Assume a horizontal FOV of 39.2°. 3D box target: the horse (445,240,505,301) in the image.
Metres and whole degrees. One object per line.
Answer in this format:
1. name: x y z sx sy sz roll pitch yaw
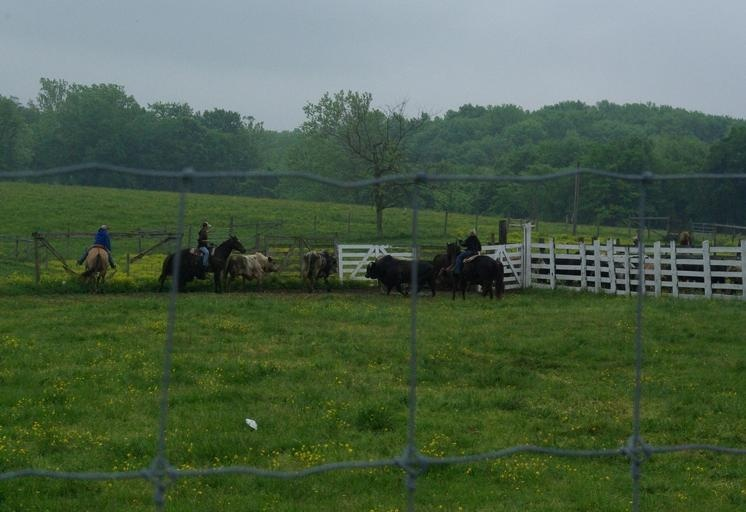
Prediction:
1. horse: 7.628 1.265 66.348 5.607 3.532 1.648 1 -3 41

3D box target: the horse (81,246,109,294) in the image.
1. horse: -17.369 0.695 65.671 1.319 2.840 1.254 0 3 -35
